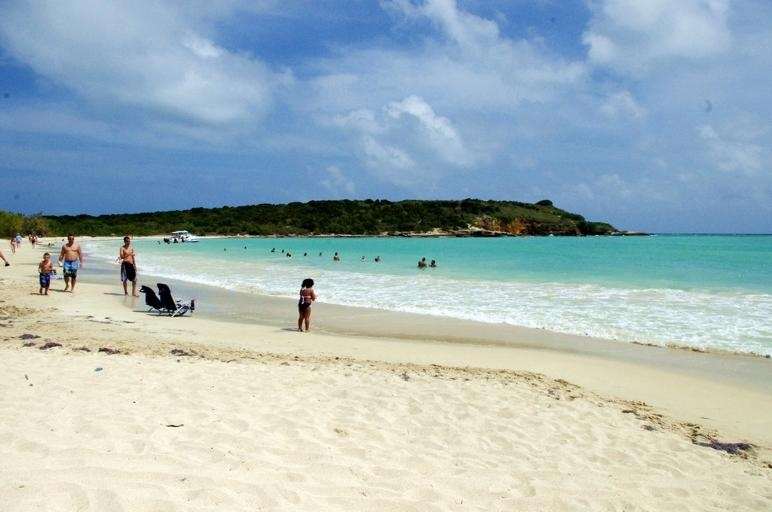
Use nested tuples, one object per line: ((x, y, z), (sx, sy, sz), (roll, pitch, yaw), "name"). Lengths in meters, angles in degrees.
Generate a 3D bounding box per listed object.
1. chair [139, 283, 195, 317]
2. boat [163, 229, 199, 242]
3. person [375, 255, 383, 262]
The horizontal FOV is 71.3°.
((-7.126, 1.411, 17.890), (1.324, 0.787, 1.609), (2, -2, 9), "chair")
((-31.749, -2.770, 82.483), (3.350, 1.455, 6.162), (1, 7, -4), "boat")
((-0.855, 0.211, 44.473), (0.500, 0.449, 0.896), (2, 5, 8), "person")
